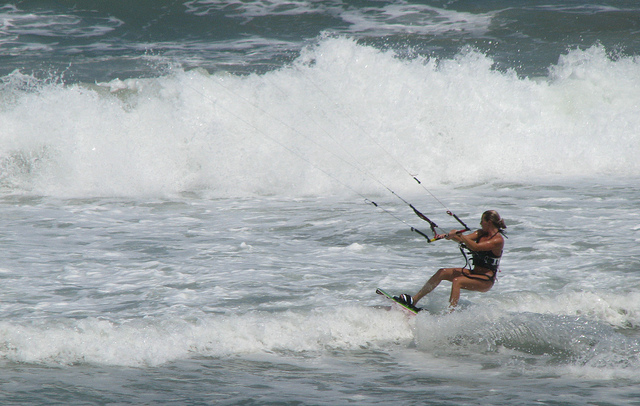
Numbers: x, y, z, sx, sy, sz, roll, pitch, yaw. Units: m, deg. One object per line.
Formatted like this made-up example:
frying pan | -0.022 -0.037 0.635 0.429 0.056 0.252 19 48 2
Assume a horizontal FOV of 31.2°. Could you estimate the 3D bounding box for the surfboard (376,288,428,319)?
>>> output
surfboard | 2.146 2.765 32.100 1.540 0.781 0.590 9 21 36
